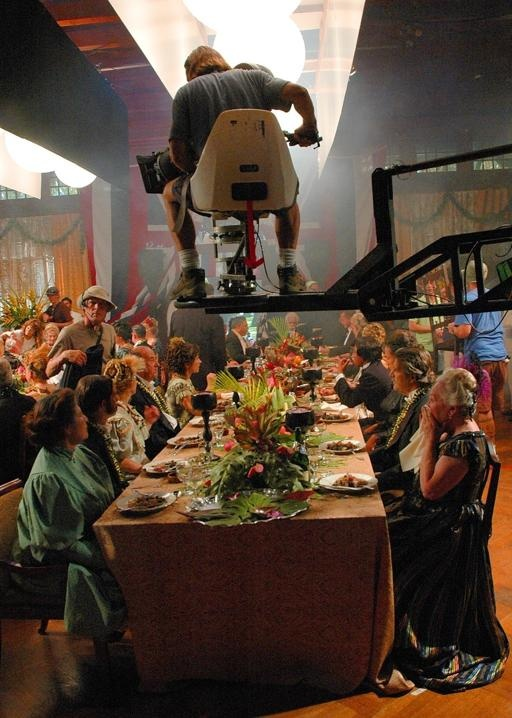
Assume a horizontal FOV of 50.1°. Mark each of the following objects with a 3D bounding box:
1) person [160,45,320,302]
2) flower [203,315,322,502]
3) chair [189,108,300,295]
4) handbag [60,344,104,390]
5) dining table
[{"bbox_3d":[-0.067,-0.664,1.909,0.594,0.857,0.436,-4,11,0],"label":"person"},{"bbox_3d":[0.035,0.219,1.917,0.388,0.501,0.431,-7,-4,28],"label":"flower"},{"bbox_3d":[-0.029,-0.435,1.629,0.356,0.471,0.334,-2,3,-8],"label":"chair"},{"bbox_3d":[-1.149,0.044,3.568,0.190,0.323,0.253,27,-5,6],"label":"handbag"},{"bbox_3d":[0.072,0.709,2.355,1.064,0.683,1.439,0,7,5],"label":"dining table"}]
